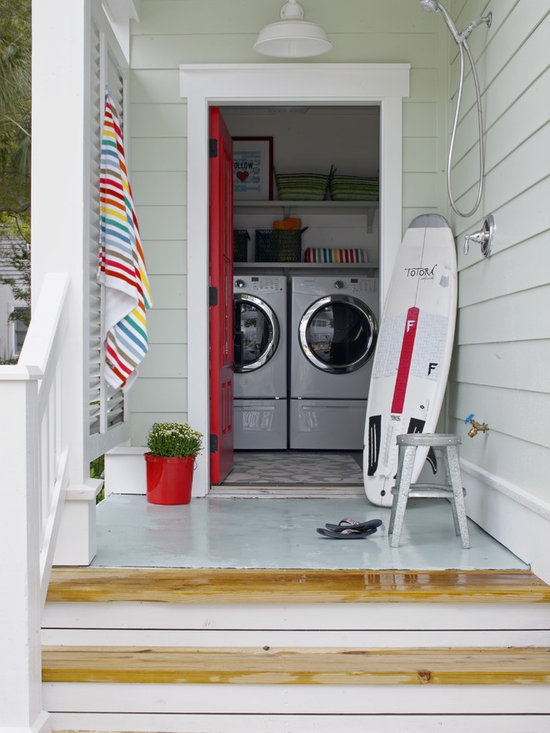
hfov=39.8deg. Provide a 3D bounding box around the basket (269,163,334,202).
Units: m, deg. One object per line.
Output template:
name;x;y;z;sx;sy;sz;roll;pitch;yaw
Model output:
basket;0.213;-1.378;5.869;0.408;0.262;0.270;5;5;3

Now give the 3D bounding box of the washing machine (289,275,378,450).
washing machine;0.400;-0.019;5.576;0.655;1.123;0.771;0;1;-1

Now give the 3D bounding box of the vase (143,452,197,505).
vase;-0.494;0.516;3.608;0.232;0.180;0.249;4;-2;-39

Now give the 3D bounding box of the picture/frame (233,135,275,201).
picture/frame;-0.172;-1.510;5.885;0.364;0.480;0.132;1;7;-1

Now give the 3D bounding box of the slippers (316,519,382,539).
slippers;0.284;0.622;2.877;0.156;0.038;0.106;-7;-2;2

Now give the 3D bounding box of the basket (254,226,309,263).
basket;0.028;-0.917;5.739;0.354;0.247;0.212;0;6;-3

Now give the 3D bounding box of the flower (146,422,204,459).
flower;-0.455;0.345;3.515;0.198;0.168;0.162;8;6;27

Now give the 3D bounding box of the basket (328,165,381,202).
basket;0.611;-1.411;5.983;0.388;0.297;0.501;5;5;2

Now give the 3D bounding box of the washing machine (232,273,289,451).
washing machine;-0.144;-0.026;5.468;0.441;1.138;0.438;1;3;-2
